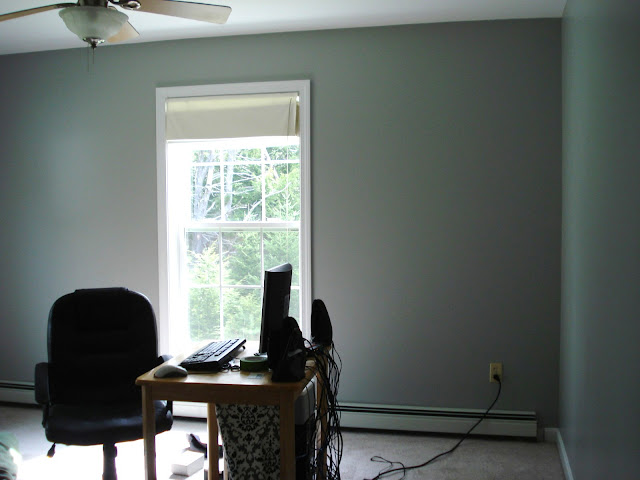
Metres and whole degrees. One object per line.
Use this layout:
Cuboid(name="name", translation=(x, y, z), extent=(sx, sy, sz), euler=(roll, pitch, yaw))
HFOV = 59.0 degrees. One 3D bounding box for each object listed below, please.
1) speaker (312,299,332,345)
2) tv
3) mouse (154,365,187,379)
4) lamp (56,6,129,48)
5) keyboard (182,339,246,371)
Cuboid(name="speaker", translation=(0.005, 0.506, 3.372), extent=(0.123, 0.289, 0.158), euler=(-2, 13, -2))
Cuboid(name="tv", translation=(-0.215, 0.443, 3.308), extent=(0.213, 0.702, 0.564), euler=(6, 2, 11))
Cuboid(name="mouse", translation=(-0.792, 0.694, 2.973), extent=(0.113, 0.039, 0.083), euler=(-1, -1, -16))
Cuboid(name="lamp", translation=(-1.168, -1.107, 2.909), extent=(0.222, 0.100, 0.232), euler=(-6, -8, 14))
Cuboid(name="keyboard", translation=(-0.618, 0.668, 3.281), extent=(0.274, 0.079, 0.438), euler=(-10, 6, 17))
